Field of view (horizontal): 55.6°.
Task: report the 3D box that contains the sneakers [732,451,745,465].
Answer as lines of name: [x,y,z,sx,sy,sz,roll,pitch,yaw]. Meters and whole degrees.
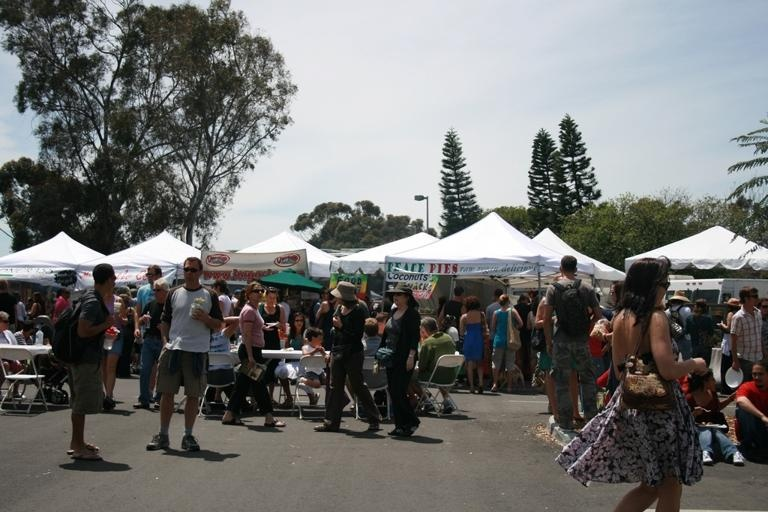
sneakers: [4.969,2.836,10.233,0.196,0.186,0.133,2,-4,-20]

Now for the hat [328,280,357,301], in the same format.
hat: [-0.672,0.635,12.395,0.373,0.197,0.308,27,-3,-30]

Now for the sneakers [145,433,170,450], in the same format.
sneakers: [-3.262,2.657,10.467,0.321,0.235,0.172,2,-4,-17]

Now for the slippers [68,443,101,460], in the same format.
slippers: [-4.047,2.654,9.857,0.314,0.096,0.230,0,-4,8]

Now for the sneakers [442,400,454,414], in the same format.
sneakers: [1.206,2.890,13.916,0.229,0.263,0.191,-11,-13,39]

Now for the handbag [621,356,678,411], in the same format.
handbag: [2.597,1.243,7.082,0.527,0.547,0.259,0,-1,17]

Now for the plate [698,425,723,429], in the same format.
plate: [4.797,2.501,10.657,0.222,0.040,0.146,1,-7,4]

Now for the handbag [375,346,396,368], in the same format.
handbag: [-0.010,1.678,12.222,0.375,0.377,0.281,-1,-12,40]

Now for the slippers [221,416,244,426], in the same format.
slippers: [-2.627,2.864,12.594,0.305,0.104,0.165,0,-5,7]

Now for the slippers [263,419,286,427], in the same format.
slippers: [-1.878,2.873,12.464,0.258,0.105,0.147,-2,-4,3]

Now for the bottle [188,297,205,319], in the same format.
bottle: [-2.693,0.746,10.429,0.214,0.289,0.129,1,-4,-3]

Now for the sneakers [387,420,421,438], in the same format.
sneakers: [0.349,2.850,11.895,0.589,0.261,0.202,1,-6,-10]

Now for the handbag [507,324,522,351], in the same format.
handbag: [2.968,1.875,16.784,0.222,0.582,0.477,-16,-30,33]

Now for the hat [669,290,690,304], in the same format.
hat: [6.521,0.910,16.054,0.427,0.212,0.371,29,-22,-35]

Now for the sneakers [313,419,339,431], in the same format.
sneakers: [-1.021,2.836,12.162,0.488,0.213,0.170,3,-5,8]

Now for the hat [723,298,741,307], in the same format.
hat: [7.951,1.069,16.671,0.327,0.118,0.301,17,-6,-11]

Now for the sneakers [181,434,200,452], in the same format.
sneakers: [-2.821,2.682,10.477,0.296,0.239,0.235,0,-4,3]
